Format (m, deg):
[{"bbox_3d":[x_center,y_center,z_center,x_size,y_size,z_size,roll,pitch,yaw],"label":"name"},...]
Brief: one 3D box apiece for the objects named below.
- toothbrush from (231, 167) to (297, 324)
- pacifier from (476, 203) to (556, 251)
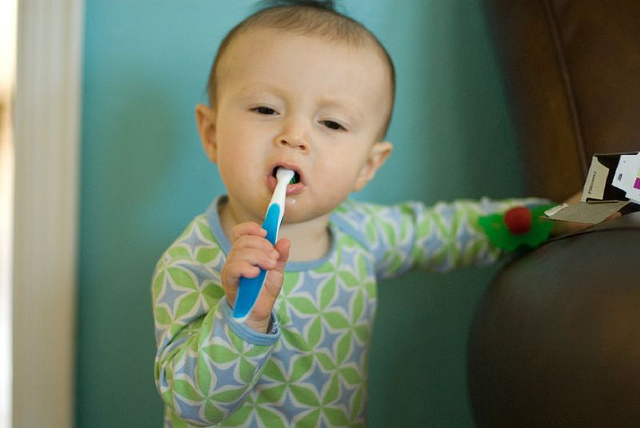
[{"bbox_3d":[-0.079,0.044,0.970,0.051,0.373,0.044,9,-39,3],"label":"toothbrush"},{"bbox_3d":[0.395,0.026,1.156,0.089,0.091,0.160,-2,-6,-29],"label":"pacifier"}]
